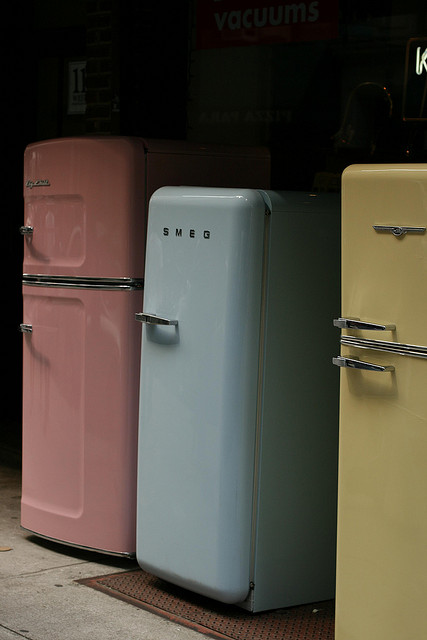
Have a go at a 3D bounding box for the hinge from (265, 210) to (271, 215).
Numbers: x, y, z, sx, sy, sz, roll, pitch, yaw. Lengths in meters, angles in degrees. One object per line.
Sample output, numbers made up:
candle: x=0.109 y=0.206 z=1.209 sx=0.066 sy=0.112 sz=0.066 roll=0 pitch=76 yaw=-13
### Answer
hinge: x=0.177 y=-0.348 z=1.963 sx=0.012 sy=0.023 sz=0.012 roll=-2 pitch=5 yaw=8

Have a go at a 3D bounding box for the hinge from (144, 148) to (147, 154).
hinge: x=-0.278 y=-0.696 z=2.497 sx=0.015 sy=0.030 sz=0.016 roll=0 pitch=3 yaw=-22

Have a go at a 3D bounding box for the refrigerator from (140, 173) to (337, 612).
refrigerator: x=0.054 y=0.270 z=2.151 sx=0.745 sy=1.512 sz=0.543 roll=0 pitch=-6 yaw=11

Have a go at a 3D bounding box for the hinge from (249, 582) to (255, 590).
hinge: x=0.130 y=0.903 z=2.055 sx=0.017 sy=0.025 sz=0.008 roll=1 pitch=-5 yaw=6
